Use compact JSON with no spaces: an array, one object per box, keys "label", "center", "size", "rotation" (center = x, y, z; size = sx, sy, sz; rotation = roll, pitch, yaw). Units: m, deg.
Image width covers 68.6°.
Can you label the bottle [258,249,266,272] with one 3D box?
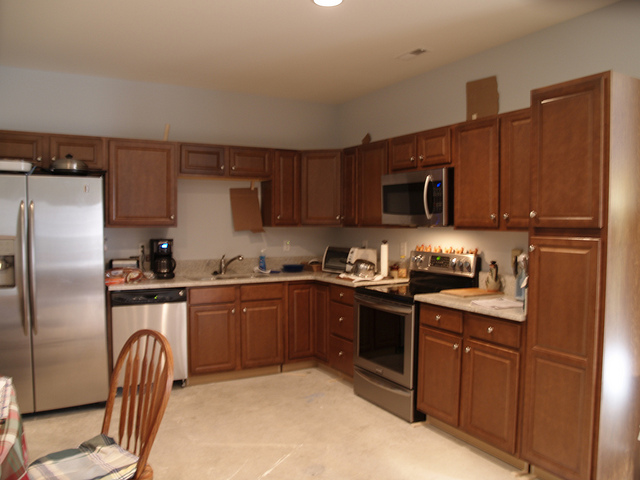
[{"label":"bottle","center":[-0.679,0.243,5.455],"size":[0.089,0.240,0.174],"rotation":[-1,8,-8]}]

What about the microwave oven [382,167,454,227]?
[{"label":"microwave oven","center":[0.877,-0.371,4.231],"size":[0.427,0.502,0.790],"rotation":[1,0,-30]}]

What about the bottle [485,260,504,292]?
[{"label":"bottle","center":[1.464,0.313,3.918],"size":[0.119,0.232,0.139],"rotation":[0,8,2]}]

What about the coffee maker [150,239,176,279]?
[{"label":"coffee maker","center":[-1.576,0.184,4.878],"size":[0.247,0.409,0.287],"rotation":[1,5,-15]}]

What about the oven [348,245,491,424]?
[{"label":"oven","center":[0.797,0.785,4.354],"size":[0.821,1.387,1.008],"rotation":[-5,9,-34]}]
